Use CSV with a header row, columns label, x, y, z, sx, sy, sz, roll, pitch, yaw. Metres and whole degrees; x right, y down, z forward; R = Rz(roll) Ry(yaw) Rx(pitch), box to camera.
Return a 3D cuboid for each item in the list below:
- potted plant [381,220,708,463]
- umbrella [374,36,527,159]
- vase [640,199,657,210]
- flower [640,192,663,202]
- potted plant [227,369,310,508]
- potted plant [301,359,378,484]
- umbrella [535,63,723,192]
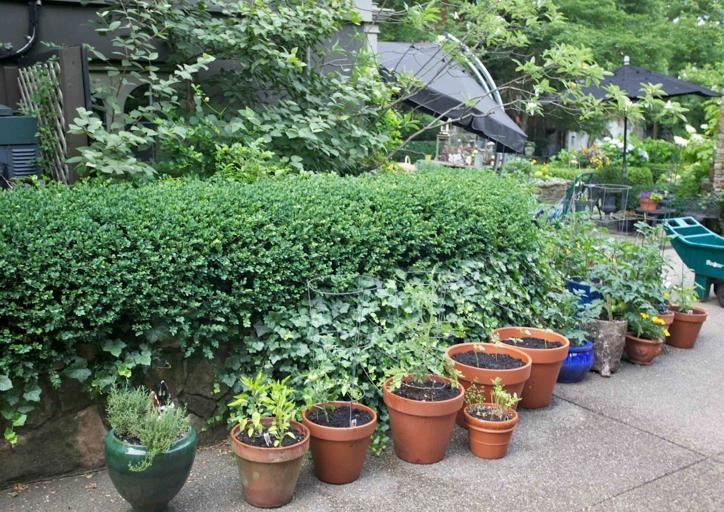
label,x,y,z,sx,sy,sz,roll,pitch,yaw
potted plant,2.094,0.627,6.753,2.579,1.913,1.862,-4,3,-44
umbrella,1.284,-2.334,8.912,2.196,1.423,2.972,4,20,-1
vase,5.985,-1.042,12.766,0.285,0.174,0.274,2,1,-14
flower,6.123,-1.240,12.865,0.288,0.140,0.280,-3,5,-40
potted plant,-0.713,1.325,4.650,0.574,0.896,0.755,0,20,-13
potted plant,-0.193,1.301,4.834,0.571,0.807,0.625,0,20,-12
umbrella,5.385,-2.118,11.395,2.901,2.261,2.904,-4,14,-5
